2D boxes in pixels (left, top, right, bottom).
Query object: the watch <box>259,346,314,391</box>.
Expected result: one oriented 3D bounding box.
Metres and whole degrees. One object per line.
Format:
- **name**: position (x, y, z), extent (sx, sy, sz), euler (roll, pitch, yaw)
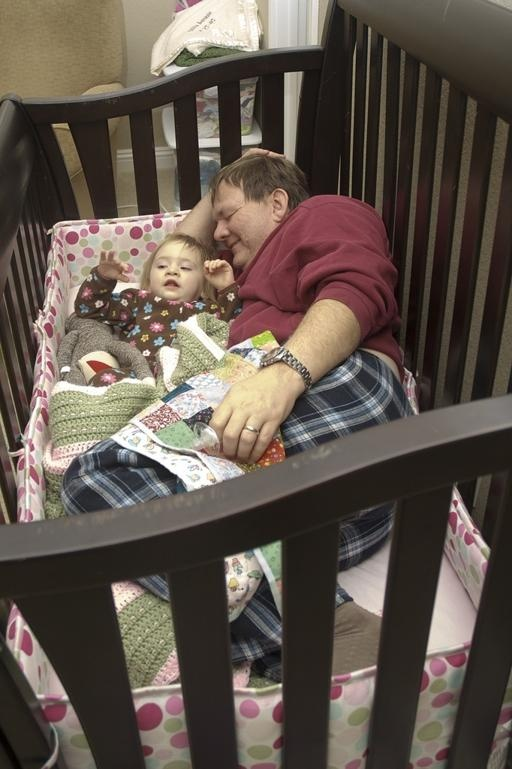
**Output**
- **watch**: position (0.054, -0.024, 1.003), extent (0.031, 0.051, 0.051), euler (-47, 16, -7)
